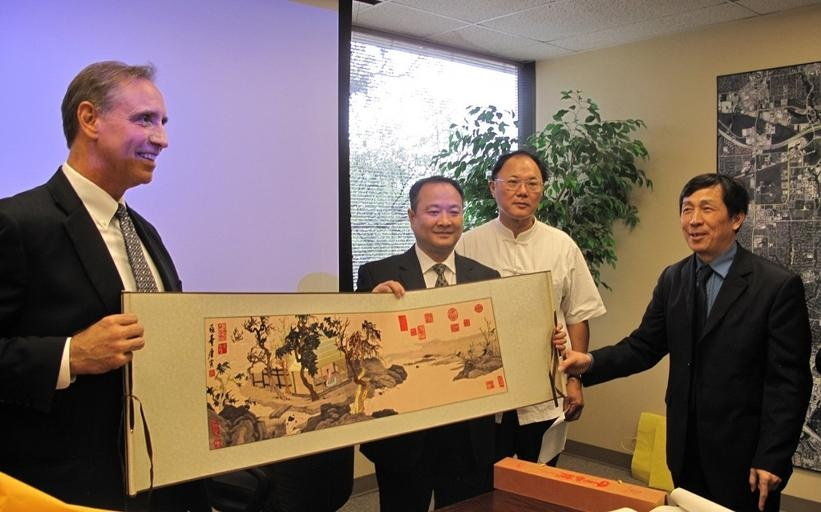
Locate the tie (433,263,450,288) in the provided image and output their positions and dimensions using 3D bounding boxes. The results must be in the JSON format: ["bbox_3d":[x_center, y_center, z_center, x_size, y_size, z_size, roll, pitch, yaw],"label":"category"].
[{"bbox_3d":[0.163,0.104,3.095,0.080,0.122,0.037,10,-10,-1],"label":"tie"}]
